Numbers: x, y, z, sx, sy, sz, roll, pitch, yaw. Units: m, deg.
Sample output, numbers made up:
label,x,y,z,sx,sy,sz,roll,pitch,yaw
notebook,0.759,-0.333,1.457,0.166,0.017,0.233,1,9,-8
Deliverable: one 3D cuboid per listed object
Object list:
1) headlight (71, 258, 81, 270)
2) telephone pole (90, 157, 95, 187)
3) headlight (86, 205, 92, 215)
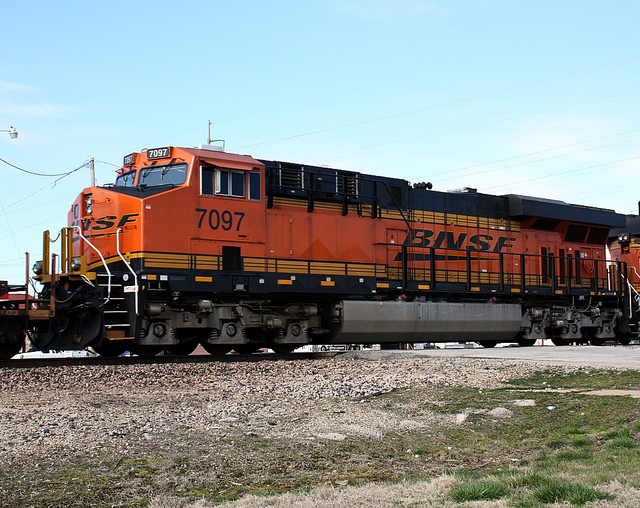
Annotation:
label,x,y,z,sx,sy,sz,roll,pitch,yaw
headlight,-4.868,0.196,12.881,0.165,0.235,0.092,1,0,-18
telephone pole,-13.157,-4.810,37.364,0.185,1.715,1.021,1,0,-25
headlight,-4.881,-0.939,13.678,0.133,0.161,0.065,-3,-5,37
